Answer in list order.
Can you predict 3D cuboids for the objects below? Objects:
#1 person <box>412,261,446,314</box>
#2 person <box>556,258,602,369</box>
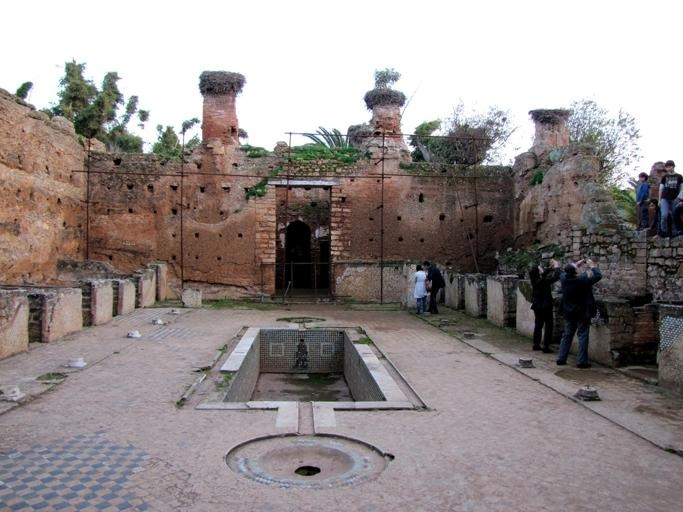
[{"bbox_3d":[2.302,0.864,15.080,0.744,1.327,1.428,2,11,7],"label":"person"},{"bbox_3d":[3.705,0.885,9.007,0.553,1.706,0.678,5,13,19],"label":"person"}]
